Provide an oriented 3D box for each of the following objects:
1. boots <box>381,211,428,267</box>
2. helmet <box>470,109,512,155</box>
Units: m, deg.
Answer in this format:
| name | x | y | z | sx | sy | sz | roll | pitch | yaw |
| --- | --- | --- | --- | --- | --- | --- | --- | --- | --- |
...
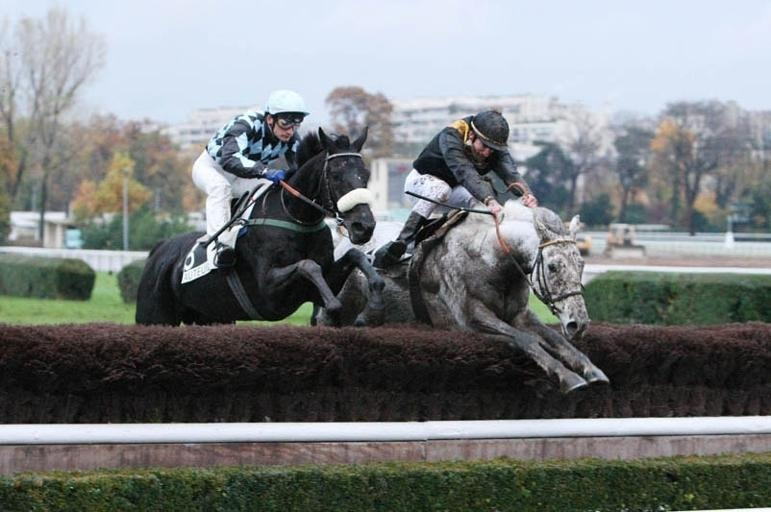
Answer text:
| name | x | y | z | sx | sy | sz | roll | pitch | yaw |
| --- | --- | --- | --- | --- | --- | --- | --- | --- | --- |
| boots | 0.200 | -0.162 | 17.090 | 0.176 | 0.706 | 0.376 | 40 | -8 | 24 |
| helmet | 1.116 | -1.304 | 16.725 | 0.456 | 0.222 | 0.361 | 41 | 24 | 30 |
